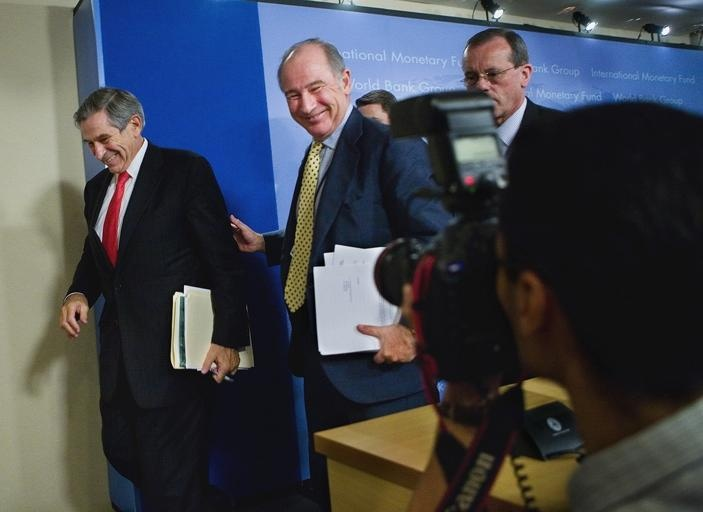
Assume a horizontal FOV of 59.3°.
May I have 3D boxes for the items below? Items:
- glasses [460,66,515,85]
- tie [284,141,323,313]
[{"bbox_3d":[0.145,-0.195,0.655,0.055,0.018,0.059,2,15,18],"label":"glasses"},{"bbox_3d":[-0.151,-0.083,2.037,0.097,0.673,0.070,3,-6,33],"label":"tie"}]
